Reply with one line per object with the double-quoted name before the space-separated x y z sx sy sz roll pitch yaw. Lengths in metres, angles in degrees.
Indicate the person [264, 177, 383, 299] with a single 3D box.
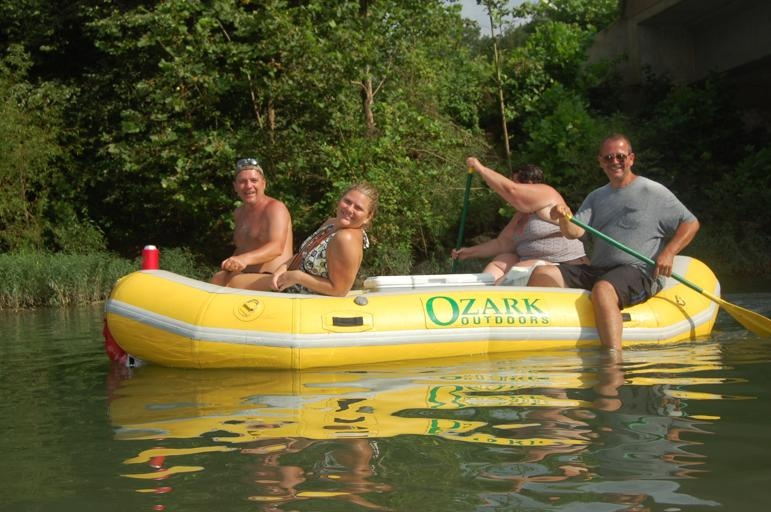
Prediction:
"person" -0.716 -0.160 10.927 1.191 1.338 0.495 -1 14 11
